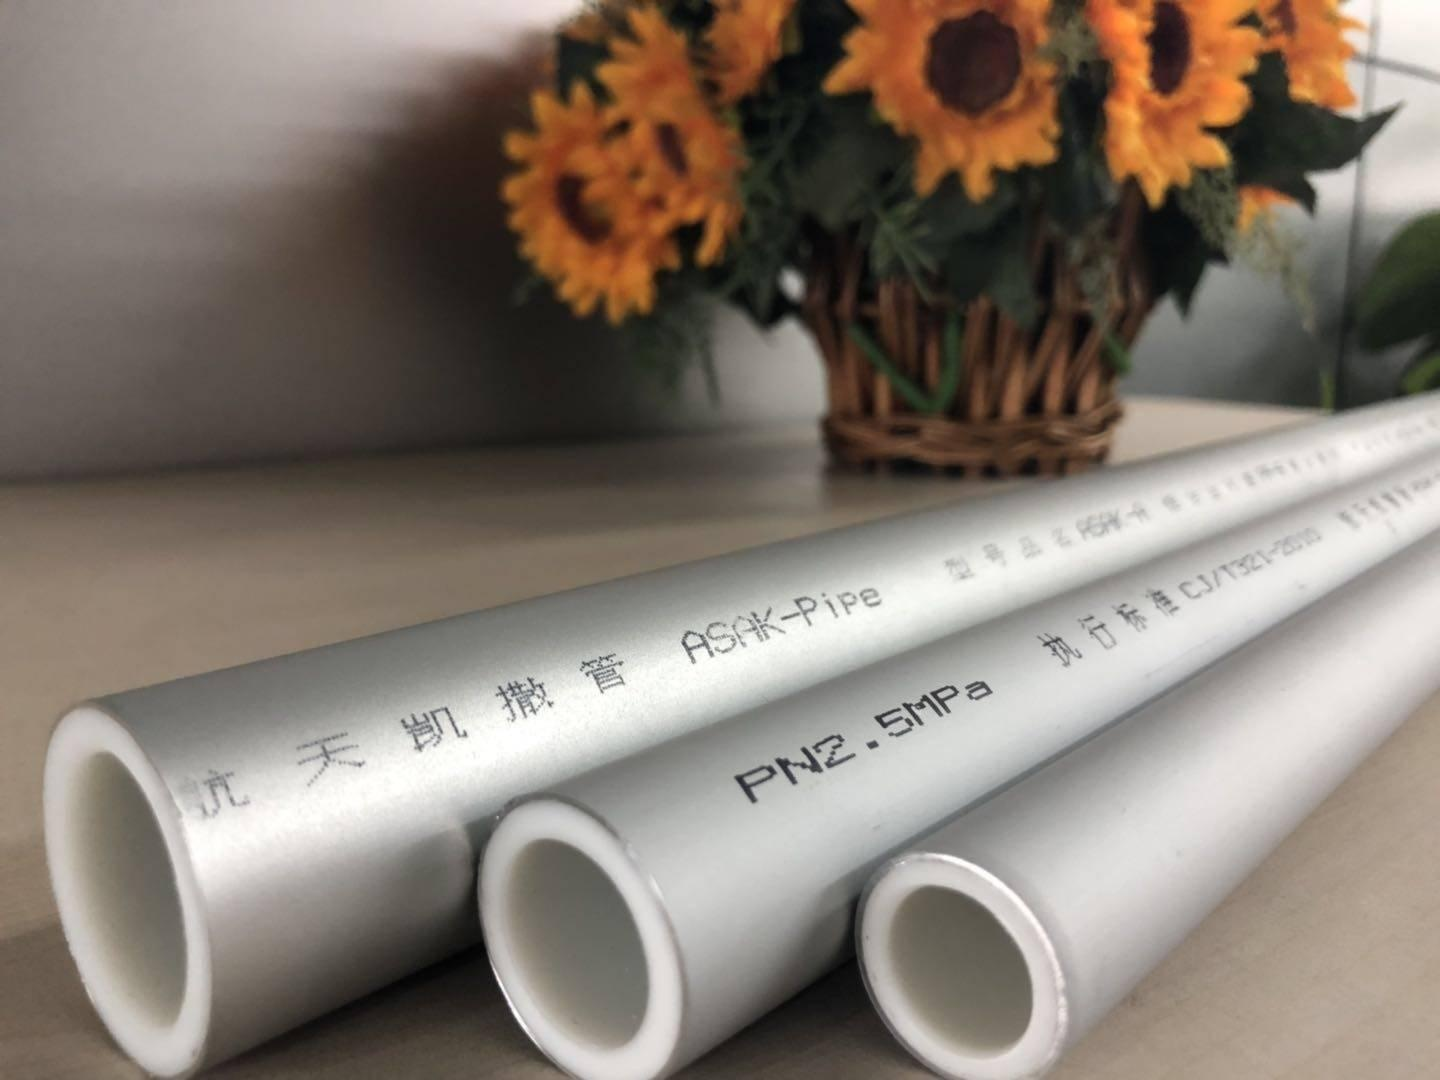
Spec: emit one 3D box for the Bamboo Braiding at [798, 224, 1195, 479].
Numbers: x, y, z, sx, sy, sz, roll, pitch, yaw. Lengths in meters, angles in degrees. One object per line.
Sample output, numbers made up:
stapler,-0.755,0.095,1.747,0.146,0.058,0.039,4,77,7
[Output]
Bamboo Braiding,0.182,-0.122,0.773,0.203,0.161,0.181,-9,13,-40
